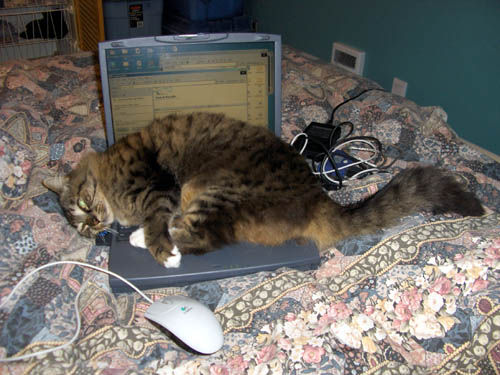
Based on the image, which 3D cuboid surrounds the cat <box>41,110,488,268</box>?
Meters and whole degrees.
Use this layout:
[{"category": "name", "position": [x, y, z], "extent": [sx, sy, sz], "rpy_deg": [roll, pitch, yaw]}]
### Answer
[{"category": "cat", "position": [0.242, 0.020, 1.760], "extent": [1.871, 0.739, 0.600], "rpy_deg": [0, -1, 1]}]

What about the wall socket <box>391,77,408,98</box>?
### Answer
[{"category": "wall socket", "position": [0.864, -0.583, 2.452], "extent": [0.026, 0.119, 0.104], "rpy_deg": [-9, 24, -36]}]
